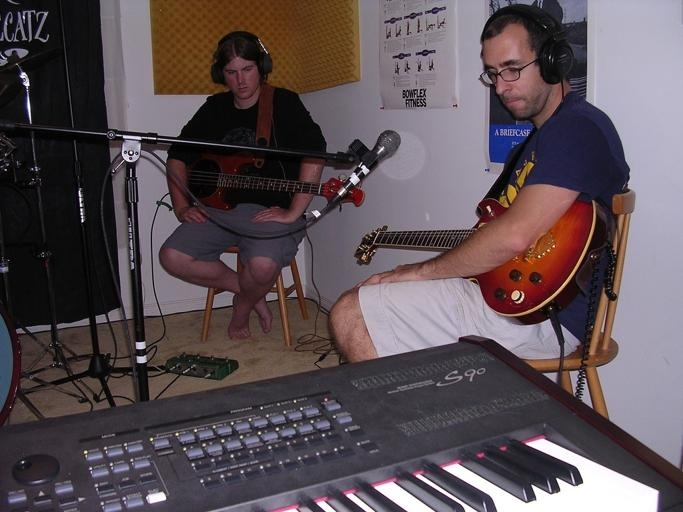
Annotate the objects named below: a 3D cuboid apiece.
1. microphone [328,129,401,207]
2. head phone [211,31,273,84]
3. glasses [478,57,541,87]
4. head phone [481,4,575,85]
[{"bbox_3d":[0.074,-0.267,1.732,0.132,0.203,0.226,5,13,30],"label":"microphone"},{"bbox_3d":[-0.515,-1.093,3.224,0.300,0.265,0.126,-12,8,42],"label":"head phone"},{"bbox_3d":[0.588,-0.627,1.939,0.140,0.044,0.142,11,34,45],"label":"glasses"},{"bbox_3d":[0.613,-0.680,1.879,0.123,0.267,0.292,-24,22,-30],"label":"head phone"}]
